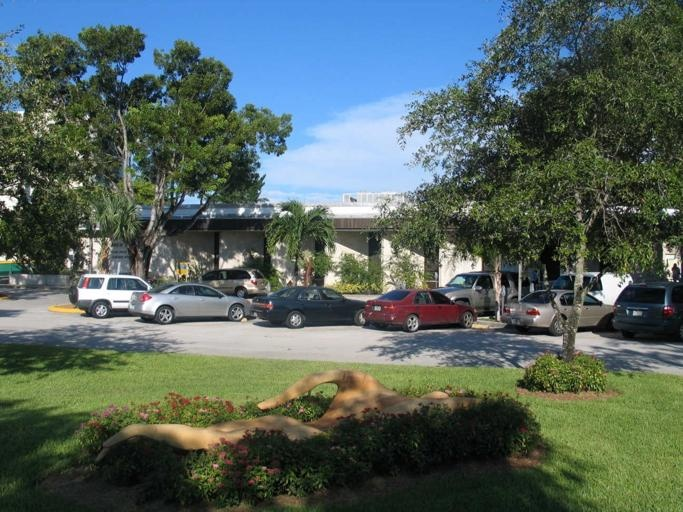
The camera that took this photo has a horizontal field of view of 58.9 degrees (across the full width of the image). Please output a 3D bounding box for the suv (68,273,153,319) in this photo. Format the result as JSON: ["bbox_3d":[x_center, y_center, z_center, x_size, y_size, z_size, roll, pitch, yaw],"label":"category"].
[{"bbox_3d":[-9.266,1.585,24.660,3.260,1.676,1.673,-3,3,-25],"label":"suv"}]

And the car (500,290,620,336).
[{"bbox_3d":[7.873,1.981,21.727,3.990,1.623,2.427,-2,4,-36],"label":"car"}]

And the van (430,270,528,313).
[{"bbox_3d":[6.535,1.634,26.747,3.423,1.943,1.712,-6,4,37],"label":"van"}]

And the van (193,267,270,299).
[{"bbox_3d":[-5.928,1.518,34.495,3.201,1.387,1.595,5,-2,-10],"label":"van"}]

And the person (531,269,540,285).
[{"bbox_3d":[10.124,1.127,31.496,0.155,0.772,0.527,2,-2,-2],"label":"person"}]

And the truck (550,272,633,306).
[{"bbox_3d":[7.973,1.093,19.111,1.420,0.857,1.064,2,-2,-4],"label":"truck"}]
